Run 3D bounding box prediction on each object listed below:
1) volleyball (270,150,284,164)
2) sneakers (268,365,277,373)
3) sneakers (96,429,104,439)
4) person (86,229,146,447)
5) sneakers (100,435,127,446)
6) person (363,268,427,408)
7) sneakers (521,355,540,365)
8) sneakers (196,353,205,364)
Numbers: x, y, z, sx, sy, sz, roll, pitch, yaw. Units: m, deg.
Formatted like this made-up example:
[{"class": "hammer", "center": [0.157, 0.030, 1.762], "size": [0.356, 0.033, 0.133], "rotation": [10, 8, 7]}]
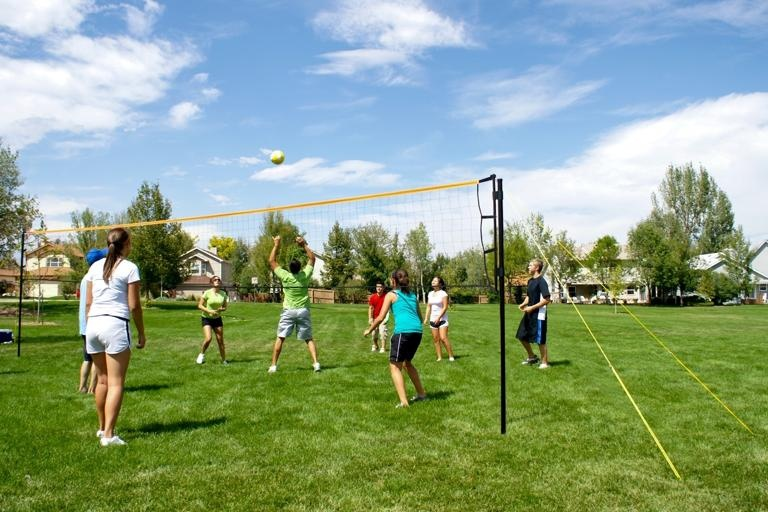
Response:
[{"class": "volleyball", "center": [-2.376, -2.165, 13.367], "size": [0.231, 0.250, 0.220], "rotation": [2, 8, 10]}, {"class": "sneakers", "center": [-2.197, 2.248, 11.918], "size": [0.088, 0.129, 0.186], "rotation": [5, -14, -30]}, {"class": "sneakers", "center": [-3.902, 2.462, 8.324], "size": [0.093, 0.116, 0.181], "rotation": [8, -11, -30]}, {"class": "person", "center": [-3.707, 1.100, 8.323], "size": [0.724, 2.893, 0.738], "rotation": [-2, 8, -21]}, {"class": "sneakers", "center": [-3.699, 2.537, 8.220], "size": [0.355, 0.157, 0.141], "rotation": [3, -4, -14]}, {"class": "person", "center": [0.306, 1.349, 10.076], "size": [0.848, 2.216, 1.078], "rotation": [2, 8, 4]}, {"class": "sneakers", "center": [3.129, 2.207, 12.795], "size": [0.386, 0.182, 0.159], "rotation": [-7, -10, 1]}, {"class": "sneakers", "center": [-3.878, 2.211, 12.803], "size": [0.154, 0.149, 0.340], "rotation": [14, -31, -12]}]
